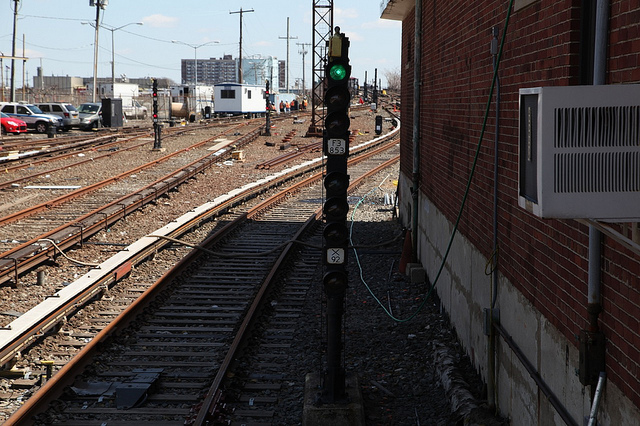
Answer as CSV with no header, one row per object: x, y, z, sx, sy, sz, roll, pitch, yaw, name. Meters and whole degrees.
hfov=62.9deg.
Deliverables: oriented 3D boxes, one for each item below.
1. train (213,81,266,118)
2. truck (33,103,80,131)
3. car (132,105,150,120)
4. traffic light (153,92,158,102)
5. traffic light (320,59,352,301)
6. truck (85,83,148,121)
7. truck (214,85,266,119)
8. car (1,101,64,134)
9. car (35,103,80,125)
-9.500,-13.962,64.754,4.258,3.864,7.220,5,14,18,train
-20.760,-7.684,41.592,3.718,1.646,1.793,5,9,14,truck
-19.918,-11.255,58.260,1.341,1.666,1.493,-2,15,-3,car
-8.772,-6.184,27.918,0.204,0.496,0.391,-7,16,-21,traffic light
0.192,-0.409,6.134,0.417,3.388,0.697,1,-7,-2,traffic light
-24.756,-12.811,63.368,4.263,4.775,8.225,-13,7,22,truck
-9.790,-13.832,64.520,4.597,4.226,8.223,3,16,14,truck
-21.420,-7.281,39.347,4.347,2.094,2.030,-1,9,-6,car
-20.798,-7.892,41.555,3.669,1.552,1.763,7,11,14,car
